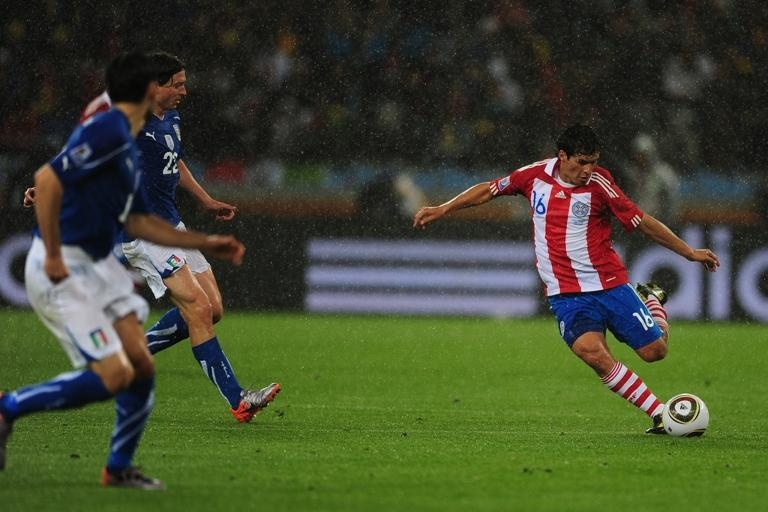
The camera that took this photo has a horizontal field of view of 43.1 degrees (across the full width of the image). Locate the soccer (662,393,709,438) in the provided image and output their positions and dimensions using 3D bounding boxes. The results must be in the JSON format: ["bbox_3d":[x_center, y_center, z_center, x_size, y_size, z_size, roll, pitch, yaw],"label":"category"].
[{"bbox_3d":[2.227,1.132,7.146,0.352,0.380,0.382,0,-13,29],"label":"soccer"}]

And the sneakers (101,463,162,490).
[{"bbox_3d":[-1.538,1.359,5.966,0.385,0.143,0.140,2,-8,0],"label":"sneakers"}]
